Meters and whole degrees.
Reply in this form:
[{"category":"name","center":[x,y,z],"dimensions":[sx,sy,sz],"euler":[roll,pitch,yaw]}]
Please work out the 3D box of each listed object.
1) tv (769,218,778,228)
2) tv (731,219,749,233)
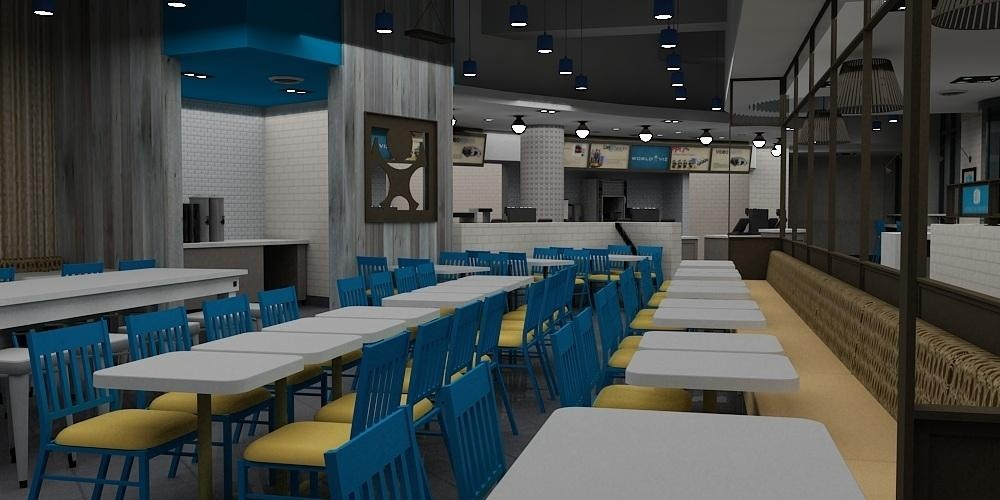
[{"category":"tv","center":[6.658,-0.647,15.028],"dimensions":[0.162,0.188,1.418],"euler":[2,6,21]},{"category":"tv","center":[4.752,-0.488,12.197],"dimensions":[0.291,0.230,0.551],"euler":[2,6,22]}]
